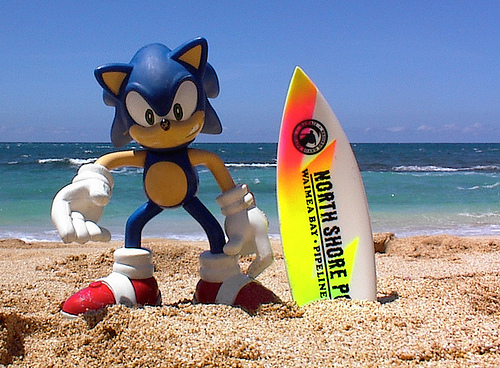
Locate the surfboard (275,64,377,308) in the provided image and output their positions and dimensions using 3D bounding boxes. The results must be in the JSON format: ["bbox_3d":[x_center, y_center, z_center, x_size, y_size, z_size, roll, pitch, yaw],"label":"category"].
[{"bbox_3d":[0.720,0.245,5.880,0.882,3.241,0.546,-7,-33,1],"label":"surfboard"}]
